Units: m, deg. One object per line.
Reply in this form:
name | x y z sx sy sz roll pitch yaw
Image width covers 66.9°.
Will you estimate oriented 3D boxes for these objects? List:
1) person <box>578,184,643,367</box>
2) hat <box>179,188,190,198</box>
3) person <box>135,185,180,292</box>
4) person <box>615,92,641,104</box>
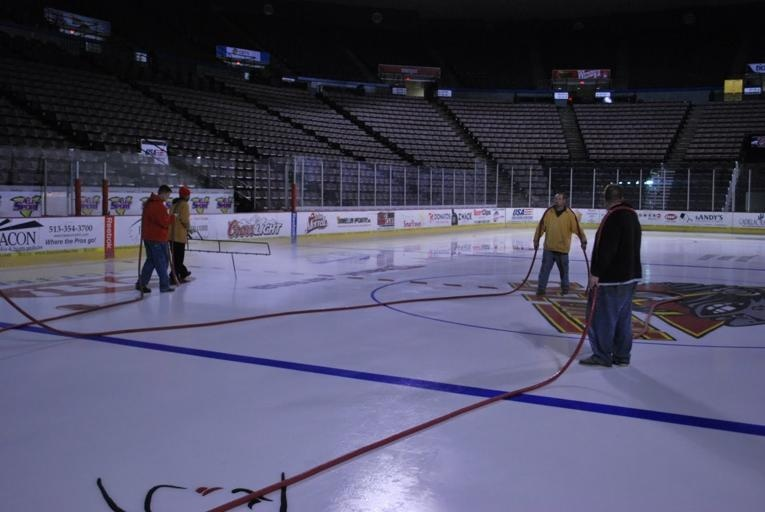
person | 3.217 0.273 8.201 0.671 2.494 0.888 5 13 22
hat | -4.747 -1.521 13.819 0.214 0.245 0.307 5 13 23
person | -4.889 -0.303 12.403 0.771 2.241 1.264 -4 12 -19
person | 22.174 -14.435 52.930 1.593 1.071 0.876 1 3 32
